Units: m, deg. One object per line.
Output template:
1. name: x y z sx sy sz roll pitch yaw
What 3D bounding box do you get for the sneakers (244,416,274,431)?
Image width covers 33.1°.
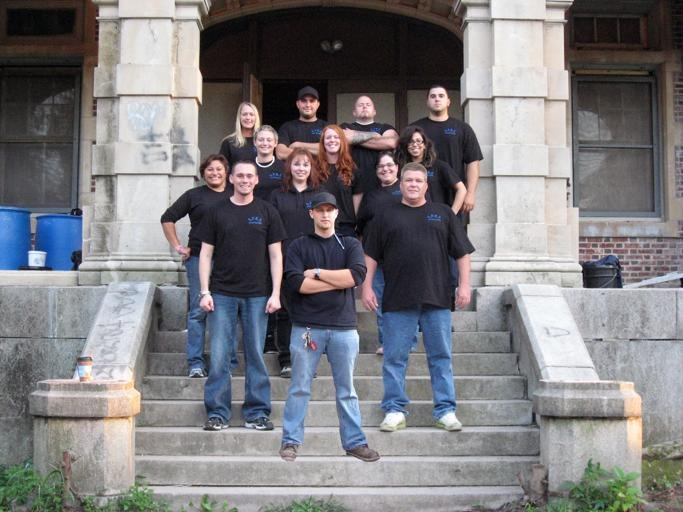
1. sneakers: -0.882 1.820 12.451 0.299 0.135 0.130 -2 -7 20

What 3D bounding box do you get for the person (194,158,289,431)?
1. person: -1.062 0.431 12.462 0.910 2.892 0.346 -1 -2 -6

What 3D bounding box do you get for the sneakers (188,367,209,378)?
1. sneakers: -1.595 1.311 12.913 0.201 0.081 0.091 1 -11 6

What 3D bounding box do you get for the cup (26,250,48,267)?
1. cup: -3.993 0.037 15.194 0.208 0.158 0.207 0 1 0

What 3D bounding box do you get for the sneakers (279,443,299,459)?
1. sneakers: -0.550 2.046 12.070 0.126 0.201 0.083 2 6 -8

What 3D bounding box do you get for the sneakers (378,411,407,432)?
1. sneakers: 0.552 1.777 12.338 0.132 0.155 0.345 -6 -8 33

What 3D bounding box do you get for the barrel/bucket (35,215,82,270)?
1. barrel/bucket: -3.857 -0.161 15.895 0.665 0.716 0.673 2 -4 0

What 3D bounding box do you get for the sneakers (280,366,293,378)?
1. sneakers: -0.611 1.296 12.836 0.092 0.091 0.212 0 2 -12

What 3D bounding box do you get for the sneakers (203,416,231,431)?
1. sneakers: -1.342 1.810 12.442 0.239 0.106 0.124 3 -2 -4

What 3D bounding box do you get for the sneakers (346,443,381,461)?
1. sneakers: 0.237 2.071 12.150 0.382 0.161 0.155 5 12 23

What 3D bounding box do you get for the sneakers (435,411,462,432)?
1. sneakers: 1.153 1.794 12.415 0.131 0.144 0.321 1 -4 -28

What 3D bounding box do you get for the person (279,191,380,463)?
1. person: -0.120 0.733 12.142 1.059 2.824 0.703 0 -3 1

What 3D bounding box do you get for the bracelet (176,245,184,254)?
1. bracelet: -1.838 -0.071 13.173 0.095 0.094 0.023 -1 -19 4

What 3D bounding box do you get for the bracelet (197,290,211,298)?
1. bracelet: -1.448 0.400 12.357 0.103 0.063 0.143 -1 -1 -2

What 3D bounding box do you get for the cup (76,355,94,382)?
1. cup: -2.666 1.185 12.099 0.220 0.300 0.220 -1 -5 0

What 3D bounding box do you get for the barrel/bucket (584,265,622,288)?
1. barrel/bucket: 3.295 0.266 14.596 0.313 0.233 0.323 -1 0 0
